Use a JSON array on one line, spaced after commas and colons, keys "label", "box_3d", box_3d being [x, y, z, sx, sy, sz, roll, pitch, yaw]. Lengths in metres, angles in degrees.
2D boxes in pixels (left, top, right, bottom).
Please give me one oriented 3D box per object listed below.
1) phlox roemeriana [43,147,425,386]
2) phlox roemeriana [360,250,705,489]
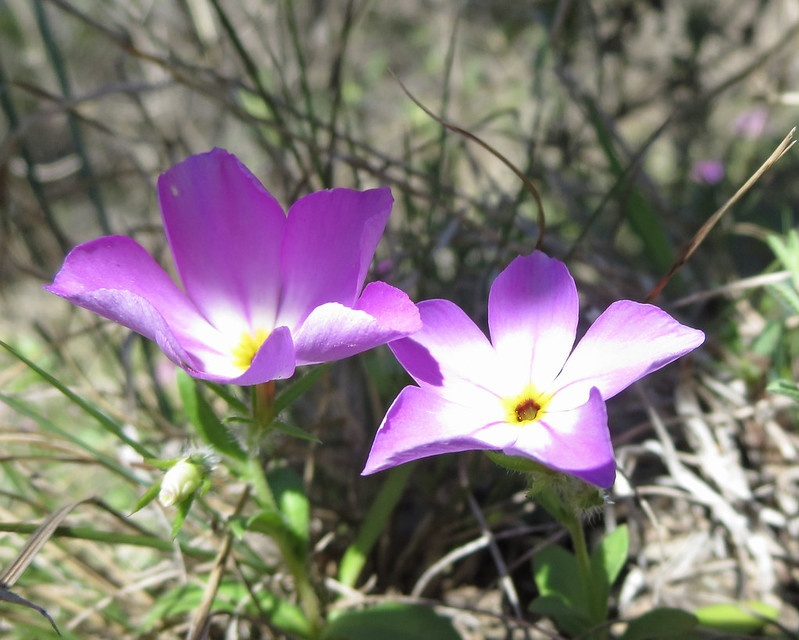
[{"label": "phlox roemeriana", "box_3d": [-0.230, -0.068, 1.172, 0.420, 0.191, 0.397, -31, 59, -26]}, {"label": "phlox roemeriana", "box_3d": [0.146, 0.102, 1.115, 0.411, 0.151, 0.479, 10, 39, 43]}]
